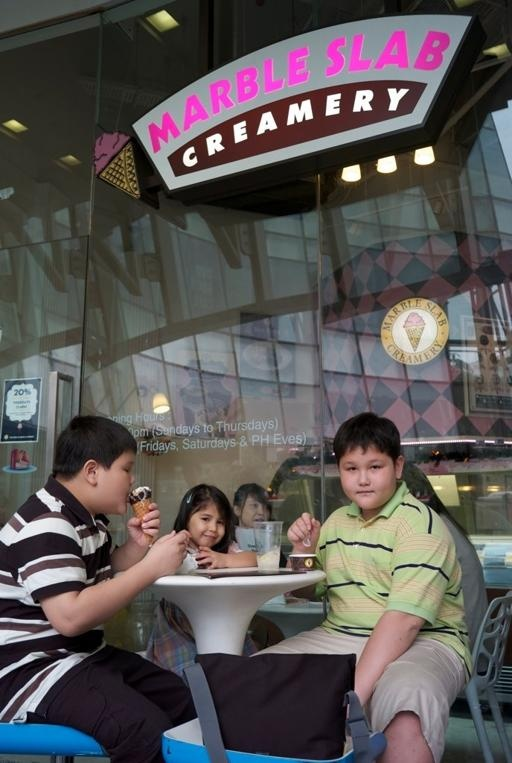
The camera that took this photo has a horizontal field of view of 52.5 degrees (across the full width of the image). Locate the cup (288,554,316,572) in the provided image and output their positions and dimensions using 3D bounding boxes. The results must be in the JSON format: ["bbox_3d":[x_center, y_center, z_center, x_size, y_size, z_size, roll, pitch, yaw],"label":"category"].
[{"bbox_3d":[0.112,0.456,1.325,0.049,0.025,0.051,2,-8,0],"label":"cup"}]

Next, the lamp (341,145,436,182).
[{"bbox_3d":[0.697,-1.114,2.656,0.285,0.057,0.119,-11,-20,15],"label":"lamp"}]

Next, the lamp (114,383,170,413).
[{"bbox_3d":[-0.574,0.119,2.771,0.187,0.182,0.113,-24,-30,-22],"label":"lamp"}]

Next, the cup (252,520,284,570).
[{"bbox_3d":[0.029,0.407,1.275,0.080,0.116,0.080,0,-13,0],"label":"cup"}]
